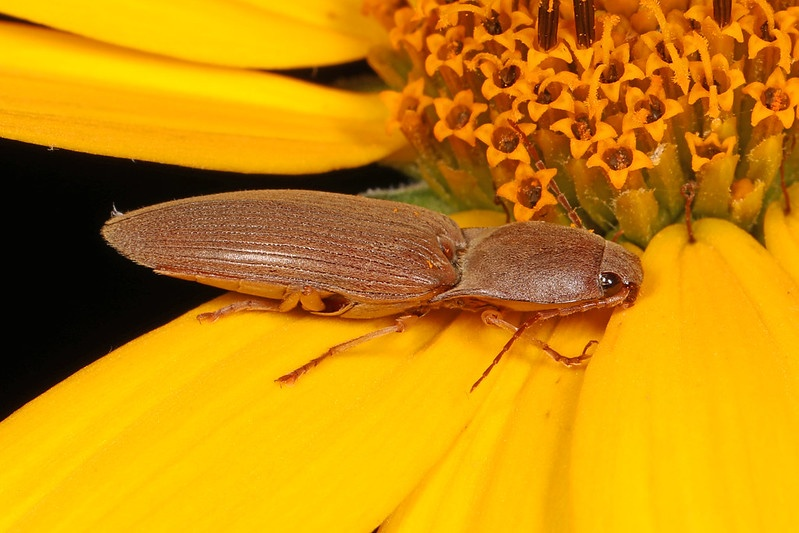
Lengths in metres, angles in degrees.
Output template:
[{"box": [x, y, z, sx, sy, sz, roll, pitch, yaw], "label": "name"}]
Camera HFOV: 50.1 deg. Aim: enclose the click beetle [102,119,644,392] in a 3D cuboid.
[{"box": [-0.080, 0.016, 2.007, 1.273, 0.187, 0.534, 5, 56, 2], "label": "click beetle"}]
